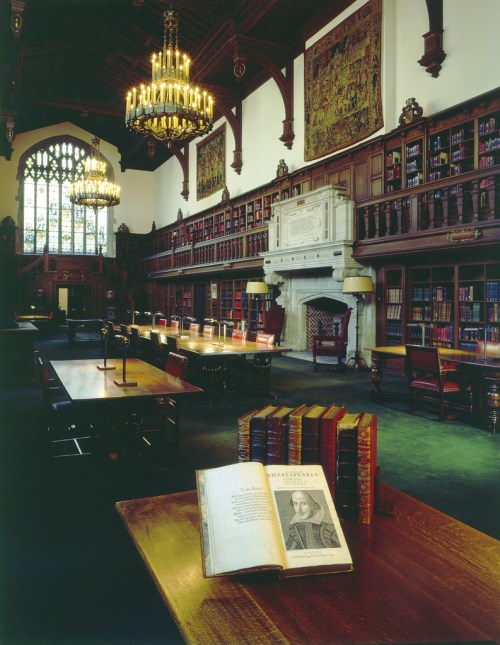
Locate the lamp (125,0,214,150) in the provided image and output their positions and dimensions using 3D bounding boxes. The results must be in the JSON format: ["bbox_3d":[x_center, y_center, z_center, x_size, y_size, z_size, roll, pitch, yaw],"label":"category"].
[{"bbox_3d":[-1.010,-3.137,6.592,1.002,1.641,1.014,6,7,36],"label":"lamp"}]

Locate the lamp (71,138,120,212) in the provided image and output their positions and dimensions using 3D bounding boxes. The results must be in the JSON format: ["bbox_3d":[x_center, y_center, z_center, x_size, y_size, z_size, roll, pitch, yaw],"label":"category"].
[{"bbox_3d":[-3.471,-3.432,11.725,0.875,1.513,0.886,-1,18,-8],"label":"lamp"}]

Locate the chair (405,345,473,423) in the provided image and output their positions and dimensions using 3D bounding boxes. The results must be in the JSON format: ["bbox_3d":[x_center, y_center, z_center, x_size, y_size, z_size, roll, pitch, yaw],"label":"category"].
[{"bbox_3d":[1.836,0.598,5.383,0.658,0.941,0.692,0,0,-20],"label":"chair"}]

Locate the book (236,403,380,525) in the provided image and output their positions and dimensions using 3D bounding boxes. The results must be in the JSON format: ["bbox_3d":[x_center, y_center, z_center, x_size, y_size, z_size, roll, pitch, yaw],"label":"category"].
[{"bbox_3d":[0.182,0.321,1.556,0.459,0.257,0.440,5,12,15],"label":"book"}]

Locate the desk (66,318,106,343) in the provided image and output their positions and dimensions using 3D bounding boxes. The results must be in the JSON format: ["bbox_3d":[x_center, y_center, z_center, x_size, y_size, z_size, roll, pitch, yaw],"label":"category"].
[{"bbox_3d":[-4.759,0.109,15.223,0.833,0.601,5.328,1,3,-17],"label":"desk"}]
